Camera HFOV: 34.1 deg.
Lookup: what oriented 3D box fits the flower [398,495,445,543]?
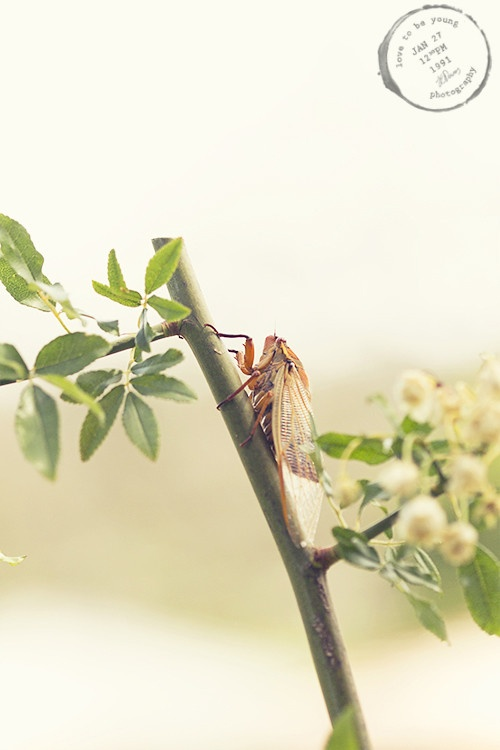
[{"bbox_3d":[0.093,0.077,0.440,0.030,0.033,0.011,-8,-53,17],"label":"flower"}]

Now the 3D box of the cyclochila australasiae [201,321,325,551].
[{"bbox_3d":[0.022,0.041,0.571,0.050,0.145,0.103,-6,-15,-8],"label":"cyclochila australasiae"}]

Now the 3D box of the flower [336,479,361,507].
[{"bbox_3d":[0.058,0.070,0.493,0.016,0.018,0.016,-11,-25,2],"label":"flower"}]

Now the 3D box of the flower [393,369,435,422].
[{"bbox_3d":[0.096,0.012,0.483,0.025,0.027,0.010,-23,-11,16],"label":"flower"}]
